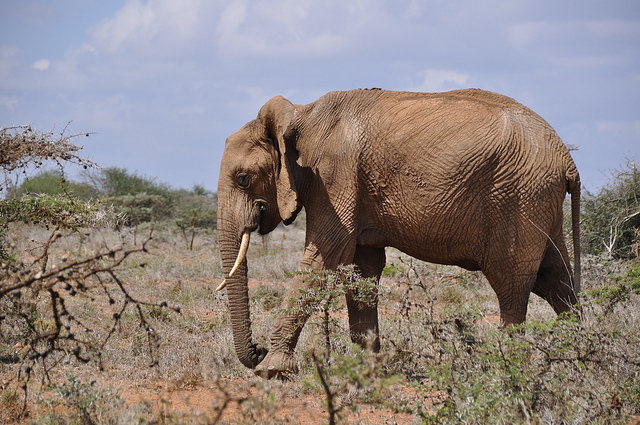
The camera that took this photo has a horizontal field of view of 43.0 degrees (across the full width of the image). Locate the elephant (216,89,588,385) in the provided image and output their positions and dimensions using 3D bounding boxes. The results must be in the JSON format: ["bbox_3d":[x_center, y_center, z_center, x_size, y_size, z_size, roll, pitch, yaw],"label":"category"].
[{"bbox_3d":[1.435,0.142,14.324,6.307,5.096,3.247,1,-5,7],"label":"elephant"}]
